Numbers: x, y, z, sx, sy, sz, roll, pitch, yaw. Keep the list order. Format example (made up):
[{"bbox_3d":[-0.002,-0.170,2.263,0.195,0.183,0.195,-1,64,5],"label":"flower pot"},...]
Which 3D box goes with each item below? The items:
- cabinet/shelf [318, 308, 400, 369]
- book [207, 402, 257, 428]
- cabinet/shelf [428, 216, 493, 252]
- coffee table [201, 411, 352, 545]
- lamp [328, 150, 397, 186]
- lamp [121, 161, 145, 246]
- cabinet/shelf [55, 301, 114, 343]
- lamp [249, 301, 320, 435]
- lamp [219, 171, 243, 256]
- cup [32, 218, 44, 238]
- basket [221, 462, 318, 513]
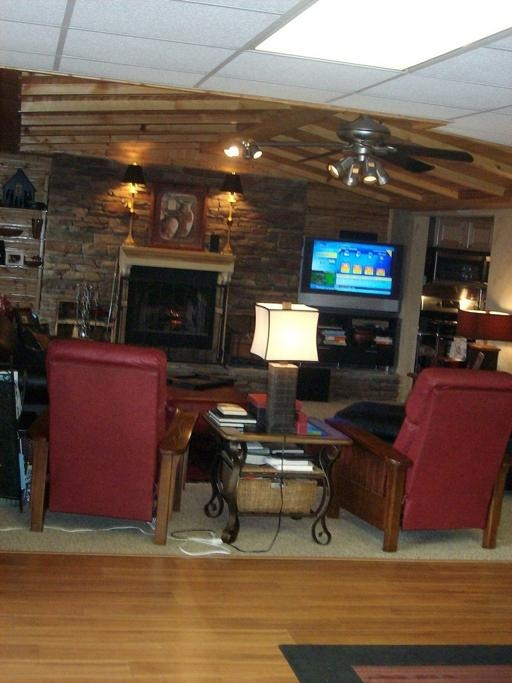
[{"bbox_3d":[1.413,-0.054,8.573,1.238,0.779,0.412,6,0,-19],"label":"cabinet/shelf"},{"bbox_3d":[-0.129,0.409,3.266,0.279,0.086,0.347,3,3,-10],"label":"book"},{"bbox_3d":[2.964,-1.584,8.567,0.943,0.478,0.474,1,8,-4],"label":"cabinet/shelf"},{"bbox_3d":[0.085,0.651,3.341,0.907,0.592,0.724,2,2,-3],"label":"coffee table"},{"bbox_3d":[0.666,-1.099,3.780,0.295,0.163,0.312,13,18,40],"label":"lamp"},{"bbox_3d":[-1.606,-1.741,7.569,0.298,1.064,0.551,8,-1,-14],"label":"lamp"},{"bbox_3d":[-2.162,-0.273,7.403,0.718,0.517,0.755,6,0,-15],"label":"cabinet/shelf"},{"bbox_3d":[0.139,0.129,3.177,0.359,0.694,0.370,7,0,-11],"label":"lamp"},{"bbox_3d":[-0.359,-1.719,7.894,0.277,1.091,0.514,8,0,-4],"label":"lamp"},{"bbox_3d":[-2.759,-1.423,7.410,0.127,0.272,0.225,7,-1,-19],"label":"cup"},{"bbox_3d":[0.089,0.709,3.146,0.447,0.169,0.301,2,-1,-11],"label":"basket"}]
